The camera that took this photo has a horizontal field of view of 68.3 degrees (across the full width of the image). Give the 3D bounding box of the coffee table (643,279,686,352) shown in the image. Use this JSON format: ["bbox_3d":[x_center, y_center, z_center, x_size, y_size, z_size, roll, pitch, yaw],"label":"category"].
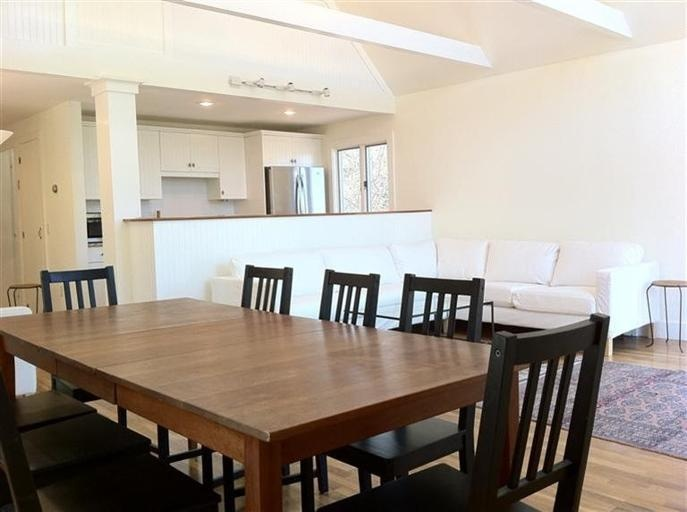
[{"bbox_3d":[3.291,0.569,5.202,0.356,0.663,0.497,3,11,32],"label":"coffee table"}]

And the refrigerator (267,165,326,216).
[{"bbox_3d":[-0.800,-1.045,8.078,1.165,0.829,0.481,-3,3,-36],"label":"refrigerator"}]

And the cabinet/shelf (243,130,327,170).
[{"bbox_3d":[-1.007,-1.728,8.263,0.790,0.464,0.272,-4,4,-41],"label":"cabinet/shelf"}]

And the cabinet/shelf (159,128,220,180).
[{"bbox_3d":[-2.459,-1.581,7.803,0.356,0.673,0.973,15,17,41],"label":"cabinet/shelf"}]
